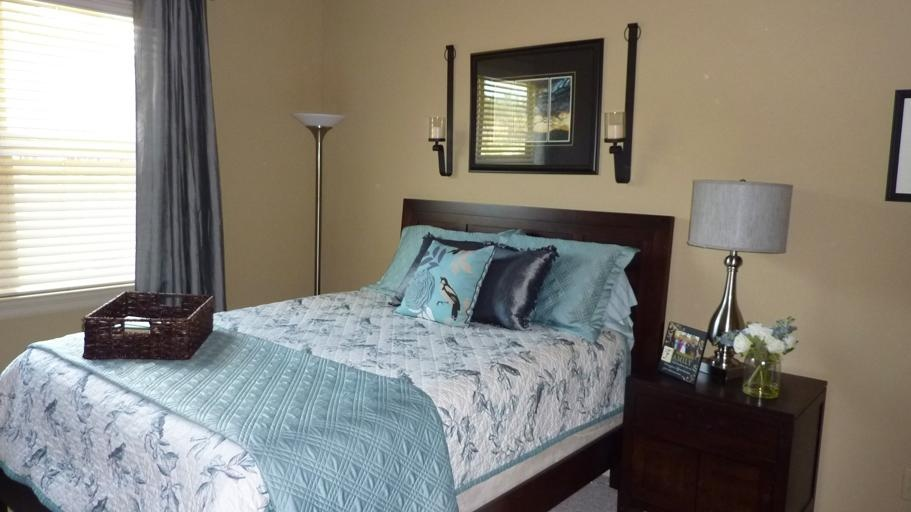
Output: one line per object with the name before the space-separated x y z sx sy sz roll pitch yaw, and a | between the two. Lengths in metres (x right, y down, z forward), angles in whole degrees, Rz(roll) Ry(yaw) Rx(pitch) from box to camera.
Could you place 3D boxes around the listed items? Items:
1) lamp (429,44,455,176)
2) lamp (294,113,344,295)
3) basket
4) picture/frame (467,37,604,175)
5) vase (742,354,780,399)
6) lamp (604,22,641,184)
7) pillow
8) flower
lamp | -0.085 -1.182 4.971 0.212 1.058 0.308 4 12 0
lamp | -1.153 -0.406 5.200 0.369 1.482 0.352 2 4 9
basket | -1.800 0.397 3.664 0.654 0.284 0.565 4 11 -1
picture/frame | 0.643 -1.140 4.606 1.115 0.934 0.048 4 3 32
vase | 1.804 0.698 3.622 0.240 0.262 0.238 0 -2 5
lamp | 1.218 -1.074 4.326 0.177 1.111 0.196 7 13 12
pillow | 0.686 0.214 4.280 1.120 0.658 0.550 10 13 24
flower | 1.808 0.586 3.674 0.394 0.343 0.402 -3 4 14
